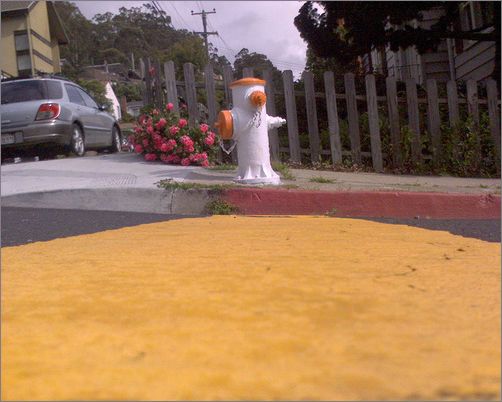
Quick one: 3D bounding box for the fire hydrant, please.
[{"bbox_3d":[-0.044,-0.789,5.301,0.706,1.168,0.621,-3,7,3],"label":"fire hydrant"}]
